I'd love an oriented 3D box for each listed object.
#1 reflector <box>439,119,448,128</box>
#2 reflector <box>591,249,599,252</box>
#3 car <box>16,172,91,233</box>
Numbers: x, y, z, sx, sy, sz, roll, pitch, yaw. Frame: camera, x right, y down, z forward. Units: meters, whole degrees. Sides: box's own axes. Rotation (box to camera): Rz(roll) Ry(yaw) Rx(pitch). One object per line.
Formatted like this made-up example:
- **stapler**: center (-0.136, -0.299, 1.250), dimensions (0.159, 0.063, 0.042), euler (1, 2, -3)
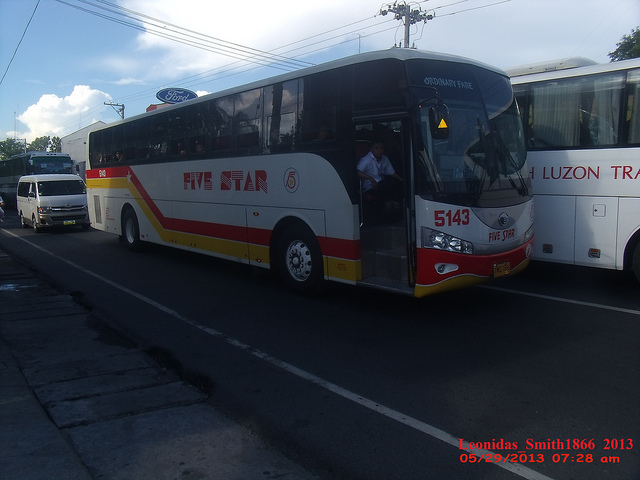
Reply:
- **reflector**: center (1.775, -1.693, 6.367), dimensions (0.109, 0.130, 0.014), euler (0, 3, 1)
- **reflector**: center (5.275, 0.216, 8.399), dimensions (0.125, 0.059, 0.008), euler (6, 9, 41)
- **car**: center (-13.296, -1.899, 21.836), dimensions (4.740, 2.701, 2.472), euler (7, 11, 43)
